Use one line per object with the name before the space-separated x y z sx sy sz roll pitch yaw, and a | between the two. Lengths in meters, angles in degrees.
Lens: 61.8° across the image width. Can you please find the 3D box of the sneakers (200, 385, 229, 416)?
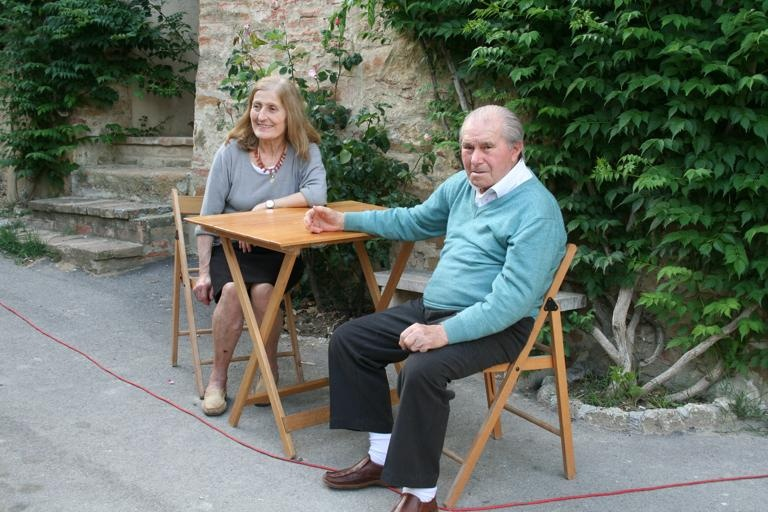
sneakers | -1.128 0.968 4.258 0.124 0.090 0.229 0 5 -13

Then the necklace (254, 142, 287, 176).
necklace | -0.802 -0.675 4.490 0.160 0.216 0.088 0 1 -3

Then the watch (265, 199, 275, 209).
watch | -0.774 -0.353 4.364 0.058 0.041 0.058 12 18 38

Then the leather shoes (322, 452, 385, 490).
leather shoes | -0.158 1.253 3.740 0.399 0.157 0.149 3 1 -17
